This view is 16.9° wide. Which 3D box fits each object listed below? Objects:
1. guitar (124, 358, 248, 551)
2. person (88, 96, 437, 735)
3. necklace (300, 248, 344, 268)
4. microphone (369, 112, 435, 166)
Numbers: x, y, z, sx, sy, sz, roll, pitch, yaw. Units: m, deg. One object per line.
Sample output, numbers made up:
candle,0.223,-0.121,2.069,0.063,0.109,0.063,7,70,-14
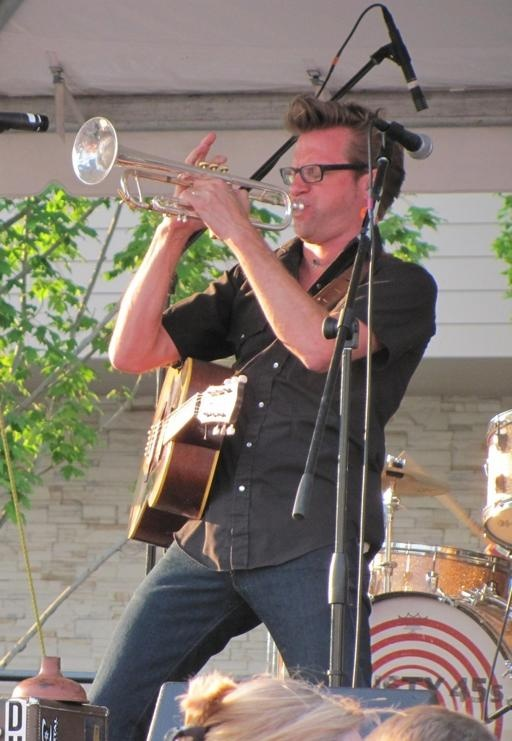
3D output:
guitar,-0.230,0.224,4.880,0.562,0.519,0.392,-4,8,-23
person,-0.013,0.093,4.786,0.887,1.827,0.559,-5,-12,30
necklace,0.177,-0.315,4.914,0.089,0.029,0.063,-5,21,42
microphone,0.402,-0.629,4.696,0.122,0.107,0.152,-2,12,-17
